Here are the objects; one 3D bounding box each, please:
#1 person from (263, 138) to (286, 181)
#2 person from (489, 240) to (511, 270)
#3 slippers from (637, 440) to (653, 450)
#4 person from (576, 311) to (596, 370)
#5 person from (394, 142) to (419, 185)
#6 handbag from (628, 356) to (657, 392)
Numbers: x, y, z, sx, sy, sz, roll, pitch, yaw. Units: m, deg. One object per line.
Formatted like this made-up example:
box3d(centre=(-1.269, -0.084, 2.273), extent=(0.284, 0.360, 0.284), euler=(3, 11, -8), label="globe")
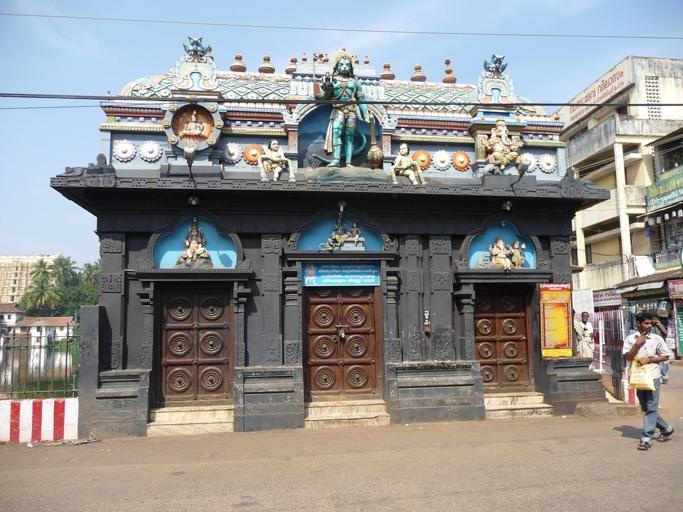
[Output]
box3d(centre=(-1.680, -2.366, 17.336), extent=(0.686, 1.213, 0.729), euler=(0, -12, -6), label="person")
box3d(centre=(4.184, -0.035, 18.122), extent=(0.584, 0.815, 0.200), euler=(-3, -12, 7), label="person")
box3d(centre=(5.970, 3.706, 13.595), extent=(0.336, 0.186, 0.163), euler=(2, -12, -15), label="slippers")
box3d(centre=(6.643, 2.241, 18.925), extent=(0.543, 1.366, 0.378), euler=(-1, 16, 14), label="person")
box3d(centre=(1.661, -2.298, 17.689), extent=(0.730, 1.122, 0.532), euler=(1, -12, -12), label="person")
box3d(centre=(5.935, 2.351, 13.803), extent=(0.527, 0.634, 0.242), euler=(-1, 11, 40), label="handbag")
